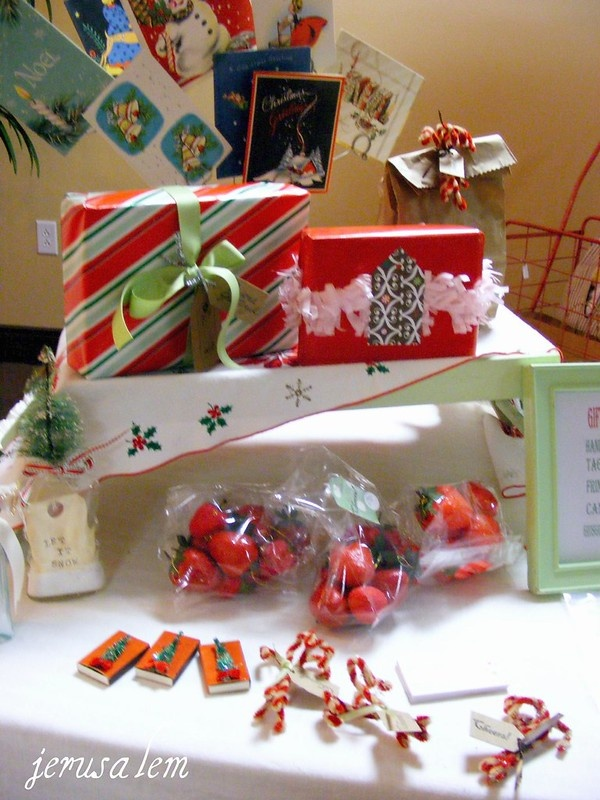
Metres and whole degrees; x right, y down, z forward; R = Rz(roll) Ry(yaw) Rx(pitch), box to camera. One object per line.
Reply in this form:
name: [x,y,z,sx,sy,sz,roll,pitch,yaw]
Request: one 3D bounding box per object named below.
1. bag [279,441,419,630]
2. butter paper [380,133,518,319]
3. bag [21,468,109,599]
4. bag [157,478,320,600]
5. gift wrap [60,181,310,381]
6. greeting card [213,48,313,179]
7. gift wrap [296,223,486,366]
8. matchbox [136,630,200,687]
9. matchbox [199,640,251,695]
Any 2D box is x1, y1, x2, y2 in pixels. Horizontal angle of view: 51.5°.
bag: [0.073,0.174,0.804,0.143,0.095,0.245,-7,53,2]
butter paper: [0.231,-0.283,0.952,0.164,0.259,0.090,-4,9,5]
bag: [-0.301,0.161,0.788,0.108,0.159,0.109,-12,13,-35]
bag: [-0.074,0.177,0.791,0.177,0.072,0.141,-1,57,-10]
gift wrap: [-0.143,-0.153,0.807,0.305,0.219,0.178,-9,32,-26]
greeting card: [-0.058,-0.470,1.004,0.169,0.208,0.021,-7,59,-5]
gift wrap: [0.117,-0.146,0.846,0.238,0.172,0.133,-2,19,-4]
matchbox: [-0.145,0.283,0.683,0.048,0.014,0.072,8,14,7]
matchbox: [-0.081,0.289,0.670,0.048,0.016,0.068,-8,17,-17]
